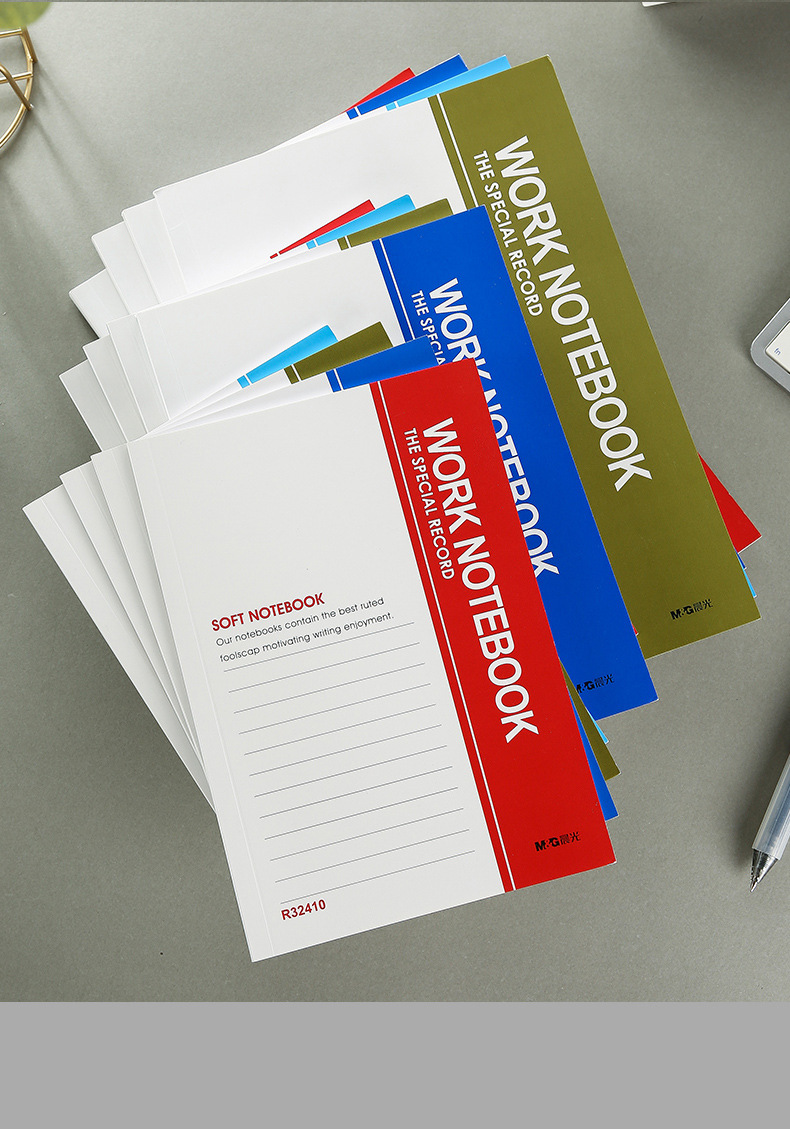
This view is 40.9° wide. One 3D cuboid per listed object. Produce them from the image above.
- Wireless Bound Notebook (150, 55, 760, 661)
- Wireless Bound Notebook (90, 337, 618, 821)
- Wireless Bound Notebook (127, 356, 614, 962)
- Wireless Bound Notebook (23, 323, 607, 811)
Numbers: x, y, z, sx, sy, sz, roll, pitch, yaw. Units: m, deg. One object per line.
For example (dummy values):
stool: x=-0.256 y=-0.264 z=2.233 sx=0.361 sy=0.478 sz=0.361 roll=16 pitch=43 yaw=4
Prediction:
Wireless Bound Notebook: x=0.094 y=-0.091 z=0.654 sx=0.280 sy=0.037 sz=0.354 roll=-19 pitch=94 yaw=-3
Wireless Bound Notebook: x=0.024 y=0.009 z=0.614 sx=0.292 sy=0.031 sz=0.238 roll=-20 pitch=96 yaw=-7
Wireless Bound Notebook: x=-0.014 y=0.045 z=0.517 sx=0.241 sy=0.071 sz=0.295 roll=-20 pitch=91 yaw=-3
Wireless Bound Notebook: x=-0.123 y=-0.003 z=0.663 sx=0.283 sy=0.044 sz=0.250 roll=-23 pitch=93 yaw=-2
